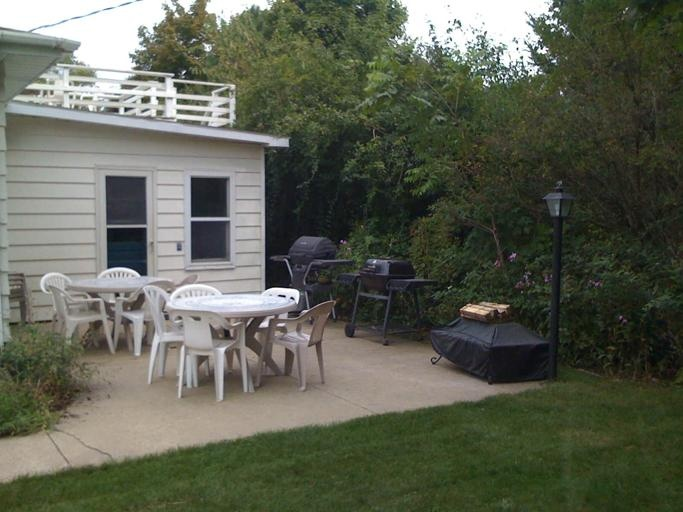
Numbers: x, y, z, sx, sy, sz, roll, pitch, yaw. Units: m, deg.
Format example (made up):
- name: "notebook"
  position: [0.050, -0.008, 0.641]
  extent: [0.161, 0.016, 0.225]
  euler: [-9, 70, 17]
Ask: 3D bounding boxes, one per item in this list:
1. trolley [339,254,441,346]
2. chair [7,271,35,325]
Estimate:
- name: "trolley"
  position: [0.594, 0.569, 8.766]
  extent: [0.724, 1.151, 1.360]
  euler: [-2, 4, -33]
- name: "chair"
  position: [-3.991, 0.517, 8.189]
  extent: [0.241, 0.597, 0.946]
  euler: [-3, 5, -27]
